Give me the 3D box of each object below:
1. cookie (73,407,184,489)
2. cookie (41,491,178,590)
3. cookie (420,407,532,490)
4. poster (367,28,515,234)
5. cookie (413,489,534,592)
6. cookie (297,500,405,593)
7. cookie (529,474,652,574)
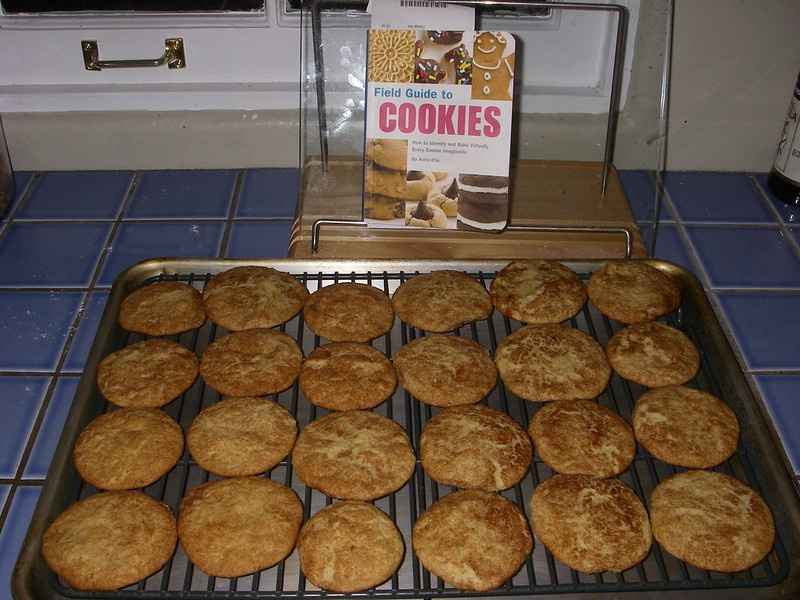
[{"bbox_3d":[-0.482,0.260,1.184,0.174,0.052,0.159,-27,47,-29],"label":"cookie"},{"bbox_3d":[-0.468,0.385,1.080,0.184,0.048,0.176,26,46,27],"label":"cookie"},{"bbox_3d":[0.137,0.262,1.196,0.199,0.050,0.157,9,40,11],"label":"cookie"},{"bbox_3d":[0.075,-0.327,1.307,0.287,0.359,0.134,2,41,3],"label":"poster"},{"bbox_3d":[0.121,0.388,1.095,0.169,0.050,0.174,33,49,33],"label":"cookie"},{"bbox_3d":[-0.082,0.399,1.082,0.155,0.048,0.150,-29,48,-30],"label":"cookie"},{"bbox_3d":[0.322,0.369,1.111,0.196,0.047,0.157,2,40,2],"label":"cookie"}]
